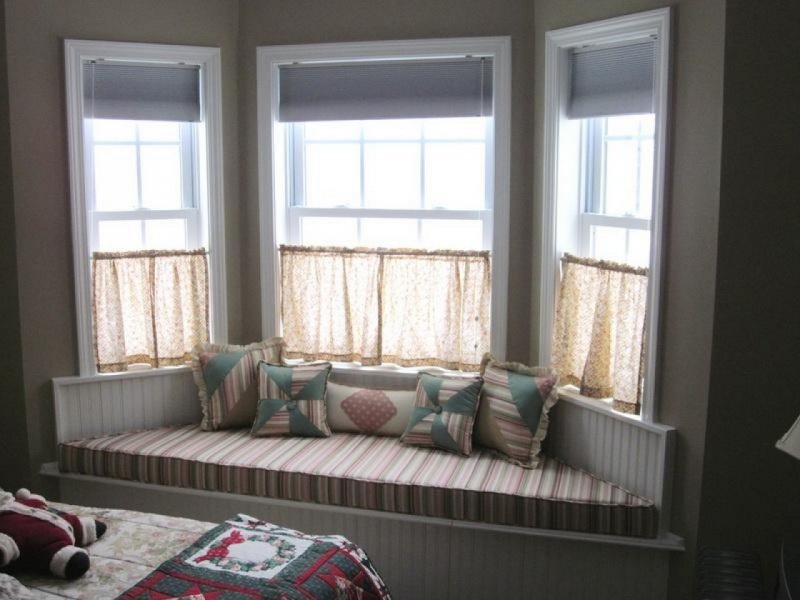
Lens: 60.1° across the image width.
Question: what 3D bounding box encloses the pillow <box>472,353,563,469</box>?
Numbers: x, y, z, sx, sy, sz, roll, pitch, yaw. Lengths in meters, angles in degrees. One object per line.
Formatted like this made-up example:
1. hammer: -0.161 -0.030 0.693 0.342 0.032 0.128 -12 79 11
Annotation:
1. pillow: 0.555 0.597 3.704 0.287 0.536 0.504 7 1 -43

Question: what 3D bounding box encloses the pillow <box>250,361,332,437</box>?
1. pillow: -0.627 0.564 3.875 0.351 0.384 0.159 -1 -6 -1

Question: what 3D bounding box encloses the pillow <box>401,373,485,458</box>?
1. pillow: 0.229 0.608 3.681 0.388 0.406 0.111 2 -13 41

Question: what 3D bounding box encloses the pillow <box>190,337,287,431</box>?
1. pillow: -0.920 0.486 3.938 0.420 0.456 0.166 -3 -7 -9
